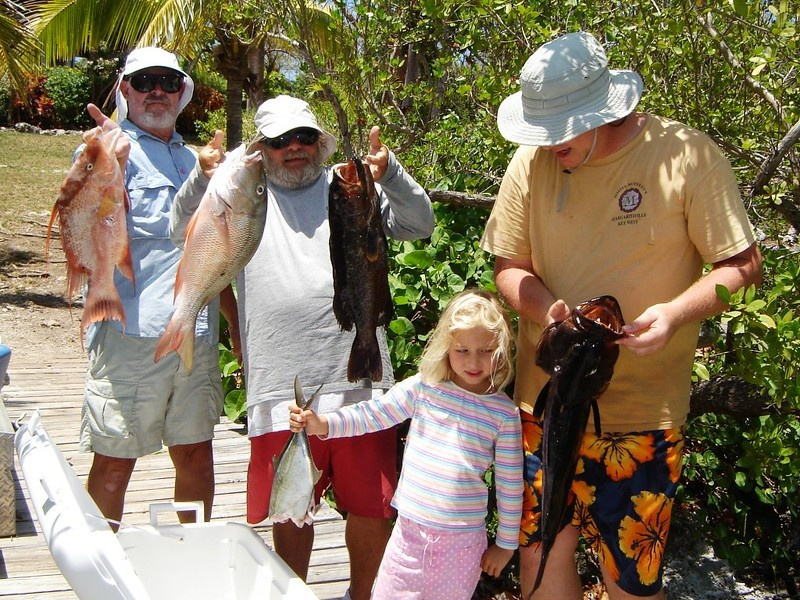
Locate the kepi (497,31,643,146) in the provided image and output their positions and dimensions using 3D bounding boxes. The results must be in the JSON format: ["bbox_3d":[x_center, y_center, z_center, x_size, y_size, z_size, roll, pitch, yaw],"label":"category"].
[{"bbox_3d":[0.706,-0.849,3.683,0.521,0.266,0.577,-10,30,47],"label":"kepi"}]

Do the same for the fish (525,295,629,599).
[{"bbox_3d":[0.729,0.612,3.644,0.323,1.239,0.317,18,17,25],"label":"fish"}]

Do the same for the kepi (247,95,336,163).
[{"bbox_3d":[-0.523,-0.821,3.929,0.270,0.204,0.344,0,-13,-28],"label":"kepi"}]

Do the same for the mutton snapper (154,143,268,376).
[{"bbox_3d":[-0.892,-0.193,3.918,0.458,1.096,0.267,8,5,19],"label":"mutton snapper"}]

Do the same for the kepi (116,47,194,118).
[{"bbox_3d":[-1.341,-1.158,4.541,0.347,0.484,0.435,1,-4,-22],"label":"kepi"}]

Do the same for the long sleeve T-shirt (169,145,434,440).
[{"bbox_3d":[-0.471,-0.122,4.109,1.399,1.572,0.831,-1,-16,7],"label":"long sleeve T-shirt"}]

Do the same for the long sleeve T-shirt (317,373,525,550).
[{"bbox_3d":[0.104,0.736,3.910,0.745,0.617,0.252,14,-3,8],"label":"long sleeve T-shirt"}]

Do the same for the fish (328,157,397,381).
[{"bbox_3d":[-0.188,-0.117,3.780,0.341,1.006,0.206,6,5,-7],"label":"fish"}]

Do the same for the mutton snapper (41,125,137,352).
[{"bbox_3d":[-1.467,-0.314,3.974,0.331,1.023,0.420,8,5,12],"label":"mutton snapper"}]
